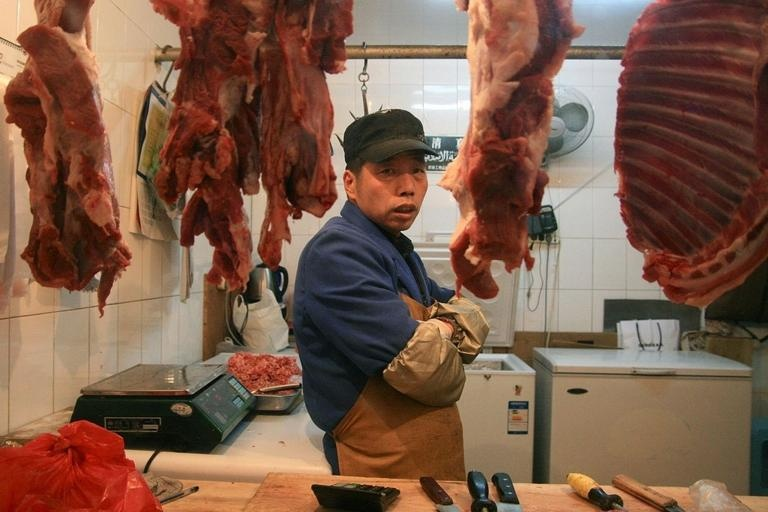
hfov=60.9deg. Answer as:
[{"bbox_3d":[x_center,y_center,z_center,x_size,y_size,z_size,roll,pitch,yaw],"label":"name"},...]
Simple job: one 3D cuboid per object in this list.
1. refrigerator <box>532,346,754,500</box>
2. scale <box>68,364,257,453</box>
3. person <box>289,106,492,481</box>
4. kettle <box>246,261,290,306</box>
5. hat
[{"bbox_3d":[1.550,0.838,4.184,1.104,1.084,0.829,1,-3,2],"label":"refrigerator"},{"bbox_3d":[-0.954,0.653,2.839,0.413,0.162,0.440,2,-1,3],"label":"scale"},{"bbox_3d":[0.029,0.163,2.728,0.806,1.525,0.441,1,-4,-9],"label":"person"},{"bbox_3d":[-0.804,0.210,4.531,0.159,0.262,0.571,-1,-5,13],"label":"kettle"},{"bbox_3d":[0.029,-0.494,2.831,0.346,0.248,0.463,-7,3,-28],"label":"hat"}]
